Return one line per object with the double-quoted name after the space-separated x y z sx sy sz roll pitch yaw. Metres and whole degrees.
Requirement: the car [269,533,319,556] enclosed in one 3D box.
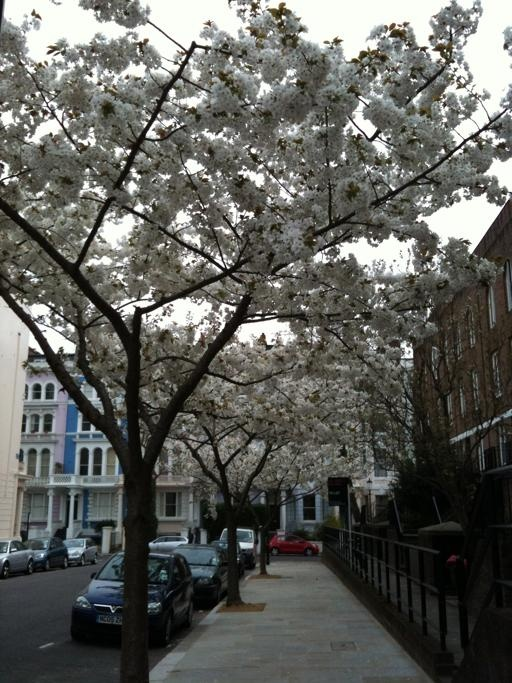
2.909 15.687 45.142 2.882 1.265 1.703 -5 -22 8 "car"
